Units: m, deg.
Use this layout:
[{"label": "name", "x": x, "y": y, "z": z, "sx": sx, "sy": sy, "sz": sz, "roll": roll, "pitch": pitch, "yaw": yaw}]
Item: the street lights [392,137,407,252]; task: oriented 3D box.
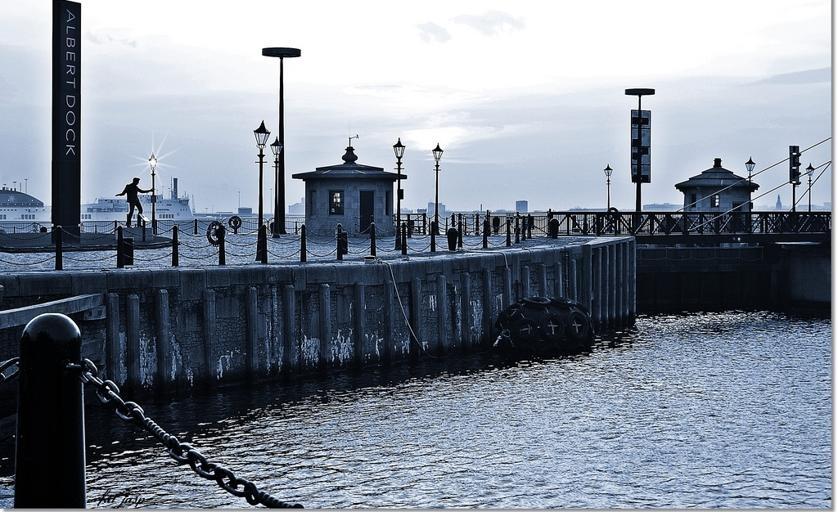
[{"label": "street lights", "x": -0.803, "y": -2.376, "z": 69.201, "sx": 0.780, "sy": 4.850, "sz": 0.687, "roll": 1, "pitch": -6, "yaw": -4}]
